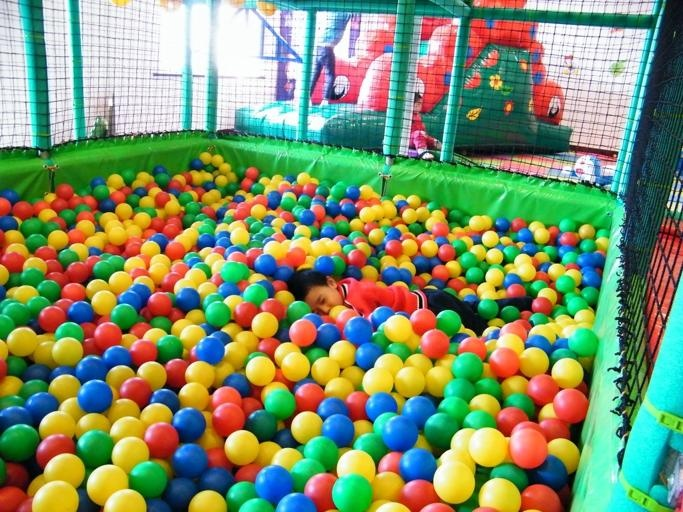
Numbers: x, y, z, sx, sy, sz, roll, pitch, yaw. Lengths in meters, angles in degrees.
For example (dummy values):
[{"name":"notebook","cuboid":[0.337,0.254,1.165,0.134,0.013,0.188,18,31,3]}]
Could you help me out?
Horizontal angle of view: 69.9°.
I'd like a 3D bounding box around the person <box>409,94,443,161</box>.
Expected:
[{"name":"person","cuboid":[1.249,-1.927,7.138,0.440,0.826,0.989,5,23,9]}]
